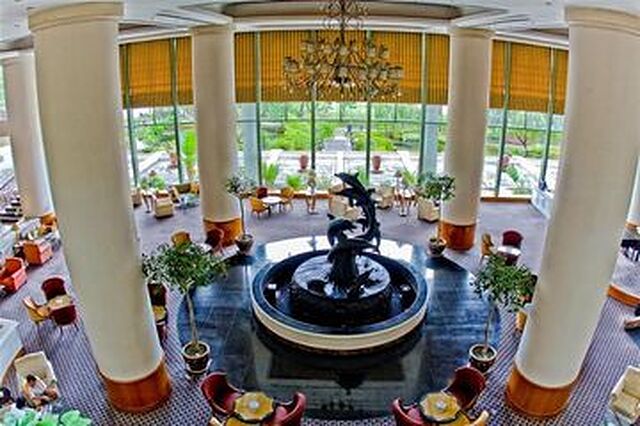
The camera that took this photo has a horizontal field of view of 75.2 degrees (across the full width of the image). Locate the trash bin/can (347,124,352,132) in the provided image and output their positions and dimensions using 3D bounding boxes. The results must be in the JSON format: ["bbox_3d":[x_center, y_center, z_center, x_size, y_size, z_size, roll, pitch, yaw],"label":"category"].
[{"bbox_3d":[1.250,-3.550,17.307,0.222,0.360,0.221,-2,21,-1],"label":"trash bin/can"}]

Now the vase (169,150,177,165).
[{"bbox_3d":[-6.521,-2.509,18.443,0.401,0.580,0.399,1,19,1],"label":"vase"}]

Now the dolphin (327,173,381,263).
[{"bbox_3d":[0.835,0.035,10.355,1.335,2.189,0.864,-4,16,-2],"label":"dolphin"}]

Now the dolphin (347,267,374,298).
[{"bbox_3d":[0.966,1.784,10.268,0.252,0.303,1.125,32,54,26],"label":"dolphin"}]

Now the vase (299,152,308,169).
[{"bbox_3d":[-0.681,-2.272,18.278,0.406,0.689,0.234,-3,16,0],"label":"vase"}]
